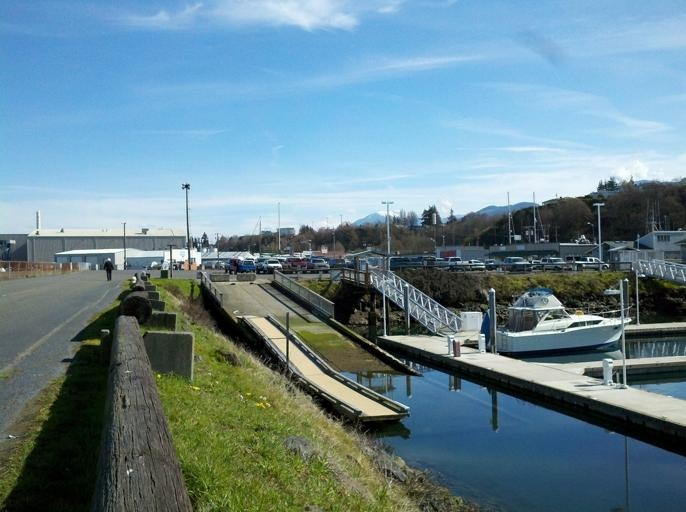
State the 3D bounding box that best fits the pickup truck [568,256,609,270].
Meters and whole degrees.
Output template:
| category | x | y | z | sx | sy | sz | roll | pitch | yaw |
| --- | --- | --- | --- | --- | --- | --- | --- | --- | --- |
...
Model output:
| category | x | y | z | sx | sy | sz | roll | pitch | yaw |
| --- | --- | --- | --- | --- | --- | --- | --- | --- | --- |
| pickup truck | 26.846 | 0.847 | 73.355 | 3.540 | 1.219 | 1.521 | -1 | 2 | -7 |
